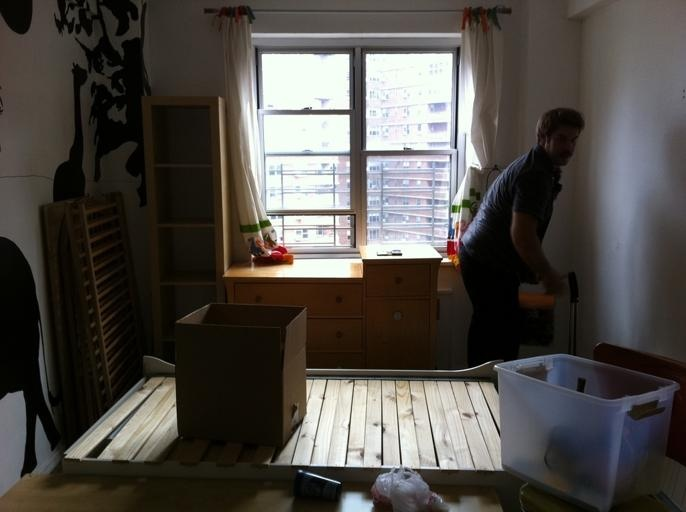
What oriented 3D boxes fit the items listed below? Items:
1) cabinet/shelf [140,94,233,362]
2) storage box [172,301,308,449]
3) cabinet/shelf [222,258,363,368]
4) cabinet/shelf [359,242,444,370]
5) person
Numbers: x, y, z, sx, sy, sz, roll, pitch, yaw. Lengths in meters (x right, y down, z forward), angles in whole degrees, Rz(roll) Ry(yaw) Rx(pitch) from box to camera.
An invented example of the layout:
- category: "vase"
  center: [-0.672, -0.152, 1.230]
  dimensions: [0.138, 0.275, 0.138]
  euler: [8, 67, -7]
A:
- category: "cabinet/shelf"
  center: [-1.138, 0.039, 4.079]
  dimensions: [0.465, 2.352, 0.312]
  euler: [-2, 20, -15]
- category: "storage box"
  center: [-0.410, 0.485, 2.436]
  dimensions: [0.474, 0.558, 0.523]
  euler: [1, 2, 9]
- category: "cabinet/shelf"
  center: [-0.339, 0.299, 3.960]
  dimensions: [0.998, 1.123, 0.602]
  euler: [1, 6, -4]
- category: "cabinet/shelf"
  center: [0.401, 0.295, 3.988]
  dimensions: [0.612, 1.103, 0.651]
  euler: [2, 33, 10]
- category: "person"
  center: [1.033, 0.084, 3.385]
  dimensions: [0.589, 1.923, 0.589]
  euler: [-10, 20, -27]
